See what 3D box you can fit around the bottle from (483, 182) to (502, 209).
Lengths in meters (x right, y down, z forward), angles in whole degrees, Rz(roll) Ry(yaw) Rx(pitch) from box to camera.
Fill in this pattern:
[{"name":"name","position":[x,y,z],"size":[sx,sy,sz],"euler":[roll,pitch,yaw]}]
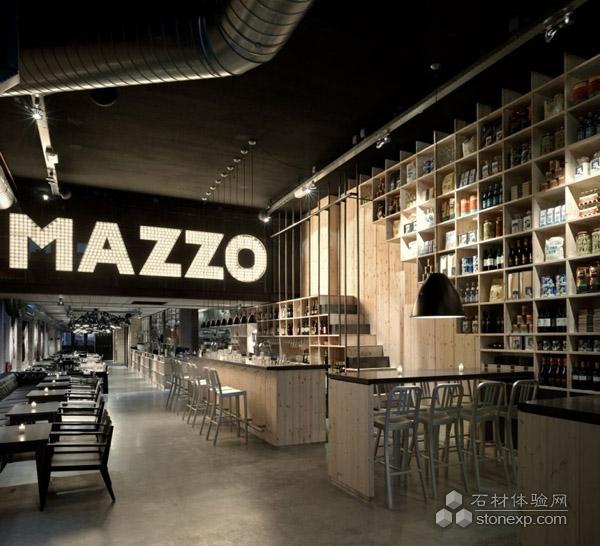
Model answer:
[{"name":"bottle","position":[2.173,-0.868,5.880],"size":[0.097,0.245,0.288],"euler":[0,-3,-27]}]

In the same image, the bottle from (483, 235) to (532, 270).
[{"name":"bottle","position":[2.281,-0.209,5.753],"size":[0.165,0.340,0.608],"euler":[1,-4,-37]}]

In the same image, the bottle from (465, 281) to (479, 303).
[{"name":"bottle","position":[2.030,0.226,6.186],"size":[0.157,0.259,0.319],"euler":[-1,-3,18]}]

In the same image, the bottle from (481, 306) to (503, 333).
[{"name":"bottle","position":[2.201,0.536,5.917],"size":[0.285,0.301,0.216],"euler":[-3,-3,42]}]

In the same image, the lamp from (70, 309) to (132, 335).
[{"name":"lamp","position":[-7.870,1.940,20.605],"size":[2.156,0.945,1.914],"euler":[-3,-3,-19]}]
